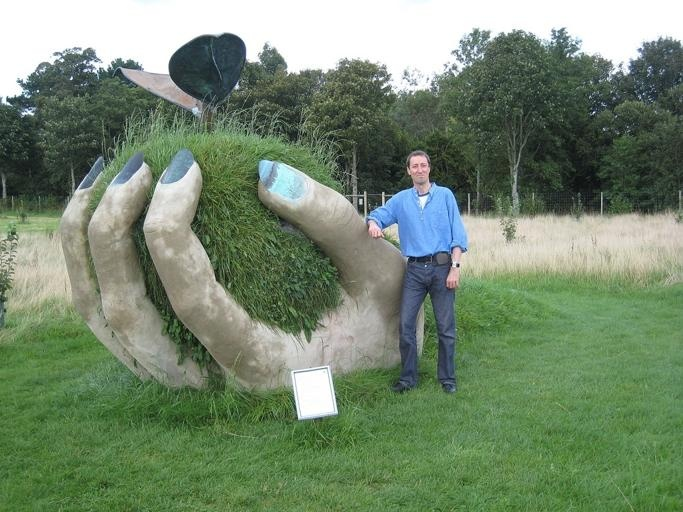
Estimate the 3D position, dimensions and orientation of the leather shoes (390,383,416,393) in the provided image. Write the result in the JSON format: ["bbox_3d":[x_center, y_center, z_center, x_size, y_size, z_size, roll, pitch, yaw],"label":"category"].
[{"bbox_3d":[0.679,1.470,7.204,0.243,0.112,0.103,9,-3,-15],"label":"leather shoes"}]
